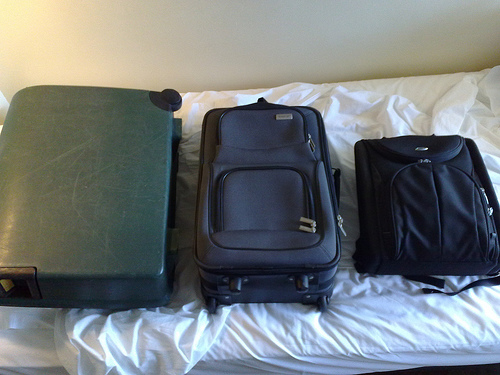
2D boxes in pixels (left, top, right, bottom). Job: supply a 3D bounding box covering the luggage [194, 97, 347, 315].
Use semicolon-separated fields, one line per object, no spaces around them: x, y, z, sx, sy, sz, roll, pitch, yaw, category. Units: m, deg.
0.090;0.054;1.960;0.602;0.401;0.939;-3;53;-1;luggage
